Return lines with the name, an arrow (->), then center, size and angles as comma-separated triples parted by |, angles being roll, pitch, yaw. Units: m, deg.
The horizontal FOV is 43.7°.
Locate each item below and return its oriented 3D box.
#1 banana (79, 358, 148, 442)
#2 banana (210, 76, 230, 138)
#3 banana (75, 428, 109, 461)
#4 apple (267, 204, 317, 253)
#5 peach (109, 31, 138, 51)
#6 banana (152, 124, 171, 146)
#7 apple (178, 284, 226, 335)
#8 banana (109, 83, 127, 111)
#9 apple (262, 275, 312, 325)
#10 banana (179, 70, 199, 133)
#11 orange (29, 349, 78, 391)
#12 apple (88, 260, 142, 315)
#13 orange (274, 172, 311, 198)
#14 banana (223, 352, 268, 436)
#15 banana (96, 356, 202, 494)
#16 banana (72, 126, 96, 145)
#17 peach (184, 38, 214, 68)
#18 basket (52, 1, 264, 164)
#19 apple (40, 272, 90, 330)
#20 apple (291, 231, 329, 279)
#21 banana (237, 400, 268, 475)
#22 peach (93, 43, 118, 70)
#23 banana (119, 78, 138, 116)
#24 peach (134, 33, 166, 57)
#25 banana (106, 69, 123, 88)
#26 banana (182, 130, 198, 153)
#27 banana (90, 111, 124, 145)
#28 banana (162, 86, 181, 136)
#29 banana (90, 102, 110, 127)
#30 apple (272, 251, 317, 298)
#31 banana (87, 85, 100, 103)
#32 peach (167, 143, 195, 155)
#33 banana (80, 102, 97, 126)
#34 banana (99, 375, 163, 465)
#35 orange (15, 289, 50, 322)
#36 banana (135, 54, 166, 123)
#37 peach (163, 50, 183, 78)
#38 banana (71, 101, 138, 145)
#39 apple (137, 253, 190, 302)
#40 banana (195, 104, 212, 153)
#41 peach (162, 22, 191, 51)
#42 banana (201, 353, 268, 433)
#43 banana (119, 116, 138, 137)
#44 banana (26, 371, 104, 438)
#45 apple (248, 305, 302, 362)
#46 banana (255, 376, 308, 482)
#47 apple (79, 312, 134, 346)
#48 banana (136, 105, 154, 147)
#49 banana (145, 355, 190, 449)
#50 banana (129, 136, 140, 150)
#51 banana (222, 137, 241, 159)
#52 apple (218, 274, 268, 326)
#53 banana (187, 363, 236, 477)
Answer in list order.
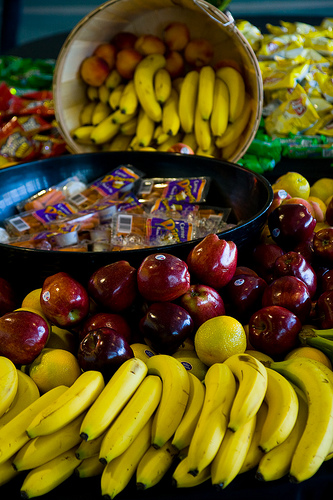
banana -> -0.077, 0.214, 0.655 | 0.045, 0.042, 0.165 | 29, 46, 19
banana -> 0.235, -0.637, 1.853 | 0.078, 0.262, 0.091 | 2, -16, 2
banana -> -0.117, 0.274, 0.605 | 0.068, 0.020, 0.022 | -19, -16, -9
apple -> 0.322, -0.061, 1.207 | 0.141, 0.150, 0.131 | 14, 4, -2
peach -> -0.199, -0.948, 1.888 | 0.112, 0.085, 0.091 | -17, 4, -3
banana -> -0.024, -0.514, 1.886 | 0.039, 0.135, 0.055 | -1, -15, 38
apple -> 0.073, 0.116, 0.897 | 0.095, 0.105, 0.093 | -8, 28, -3
banana -> -0.220, -0.698, 1.886 | 0.067, 0.119, 0.039 | 13, -16, -3
apple -> 0.243, 0.099, 0.923 | 0.101, 0.113, 0.098 | -1, 48, 2
banana -> 0.103, -0.664, 1.866 | 0.078, 0.268, 0.091 | 3, -12, 3
orange -> -0.207, 0.222, 0.769 | 0.089, 0.081, 0.089 | -5, 6, -13
apple -> -0.106, 0.076, 0.895 | 0.090, 0.112, 0.089 | 36, 7, 38
orange -> 0.476, -0.216, 1.576 | 0.130, 0.111, 0.095 | -3, 39, 30
banana -> 0.116, 0.218, 0.608 | 0.072, 0.034, 0.141 | -23, 22, 13
banana -> -0.018, 0.263, 0.655 | 0.123, 0.066, 0.203 | 25, 65, 10
banana -> -0.382, -0.520, 1.877 | 0.109, 0.060, 0.054 | -3, 12, -26
peach -> 0.149, -0.875, 1.852 | 0.120, 0.111, 0.113 | -1, 30, 12
basket -> -0.069, -0.664, 2.004 | 0.855, 0.798, 0.304 | -4, 15, 21
apple -> -0.209, 0.110, 0.866 | 0.096, 0.111, 0.115 | -3, 29, -11
apple -> 0.378, 0.018, 1.090 | 0.096, 0.105, 0.095 | -4, 9, -8
banana -> 0.144, 0.280, 0.643 | 0.039, 0.029, 0.111 | 34, 56, -19
peach -> -0.260, -0.865, 1.863 | 0.102, 0.113, 0.097 | 2, 38, -2
banana -> -0.168, -0.670, 1.834 | 0.053, 0.057, 0.170 | 11, 58, 9
peach -> -0.074, -0.910, 1.898 | 0.123, 0.085, 0.092 | -14, -8, 7
banana -> -0.242, -0.775, 1.889 | 0.049, 0.054, 0.095 | 5, 56, 26
banana -> 0.110, -0.505, 1.915 | 0.037, 0.130, 0.045 | -7, -16, 4
banana -> -0.280, -0.562, 1.894 | 0.050, 0.109, 0.157 | 25, 61, 28
banana -> 0.034, -0.627, 1.875 | 0.063, 0.076, 0.223 | 9, 62, -7
banana -> -0.310, -0.630, 1.923 | 0.065, 0.041, 0.126 | 15, 54, 13
apple -> 0.288, 0.057, 0.934 | 0.068, 0.080, 0.065 | -28, 31, 9
banana -> -0.345, -0.725, 1.940 | 0.055, 0.052, 0.069 | -12, 38, -9
peach -> 0.052, -0.405, 1.677 | 0.101, 0.037, 0.124 | 3, 27, -1
banana -> -0.375, -0.640, 1.949 | 0.038, 0.047, 0.133 | 20, 69, 7
banana -> -0.047, 0.243, 0.641 | 0.041, 0.049, 0.155 | 37, 47, 5
orange -> -0.280, 0.120, 0.907 | 0.060, 0.067, 0.058 | 25, 7, -18
banana -> -0.080, -0.737, 1.848 | 0.149, 0.294, 0.074 | 4, -7, -19
peach -> 0.031, -0.843, 1.886 | 0.104, 0.114, 0.100 | 1, 15, 1
banana -> -0.302, -0.577, 1.902 | 0.232, 0.075, 0.227 | -31, 25, -16
apple -> -0.005, 0.053, 0.873 | 0.104, 0.090, 0.099 | -10, -7, -21
banana -> 0.145, -0.533, 1.815 | 0.050, 0.178, 0.061 | -15, -16, 28
peach -> 0.043, -0.938, 1.823 | 0.116, 0.128, 0.114 | 9, 10, 4
banana -> 0.108, 0.202, 0.620 | 0.073, 0.037, 0.135 | -22, 33, 4
banana -> -0.177, -0.574, 1.933 | 0.078, 0.088, 0.029 | 0, 12, -21
banana -> -0.141, 0.217, 0.656 | 0.044, 0.047, 0.155 | 44, 43, 11
apple -> 0.208, 0.166, 0.821 | 0.096, 0.109, 0.094 | 29, -30, -33
banana -> 0.167, 0.262, 0.602 | 0.050, 0.031, 0.136 | 45, 24, 2
apple -> -0.113, 0.138, 0.860 | 0.081, 0.078, 0.085 | 18, 8, 30
banana -> -0.102, -0.561, 1.870 | 0.058, 0.065, 0.196 | 0, 67, -3
banana -> -0.002, 0.230, 0.654 | 0.079, 0.044, 0.175 | -17, 26, 9
banana -> -0.147, -0.487, 1.891 | 0.032, 0.024, 0.090 | 0, 43, 9
banana -> 0.286, -0.453, 1.886 | 0.036, 0.124, 0.045 | 33, 12, 2
apple -> 0.155, 0.101, 0.975 | 0.097, 0.085, 0.094 | -12, 33, 26
banana -> 0.074, 0.230, 0.594 | 0.042, 0.041, 0.166 | 14, 36, 10
